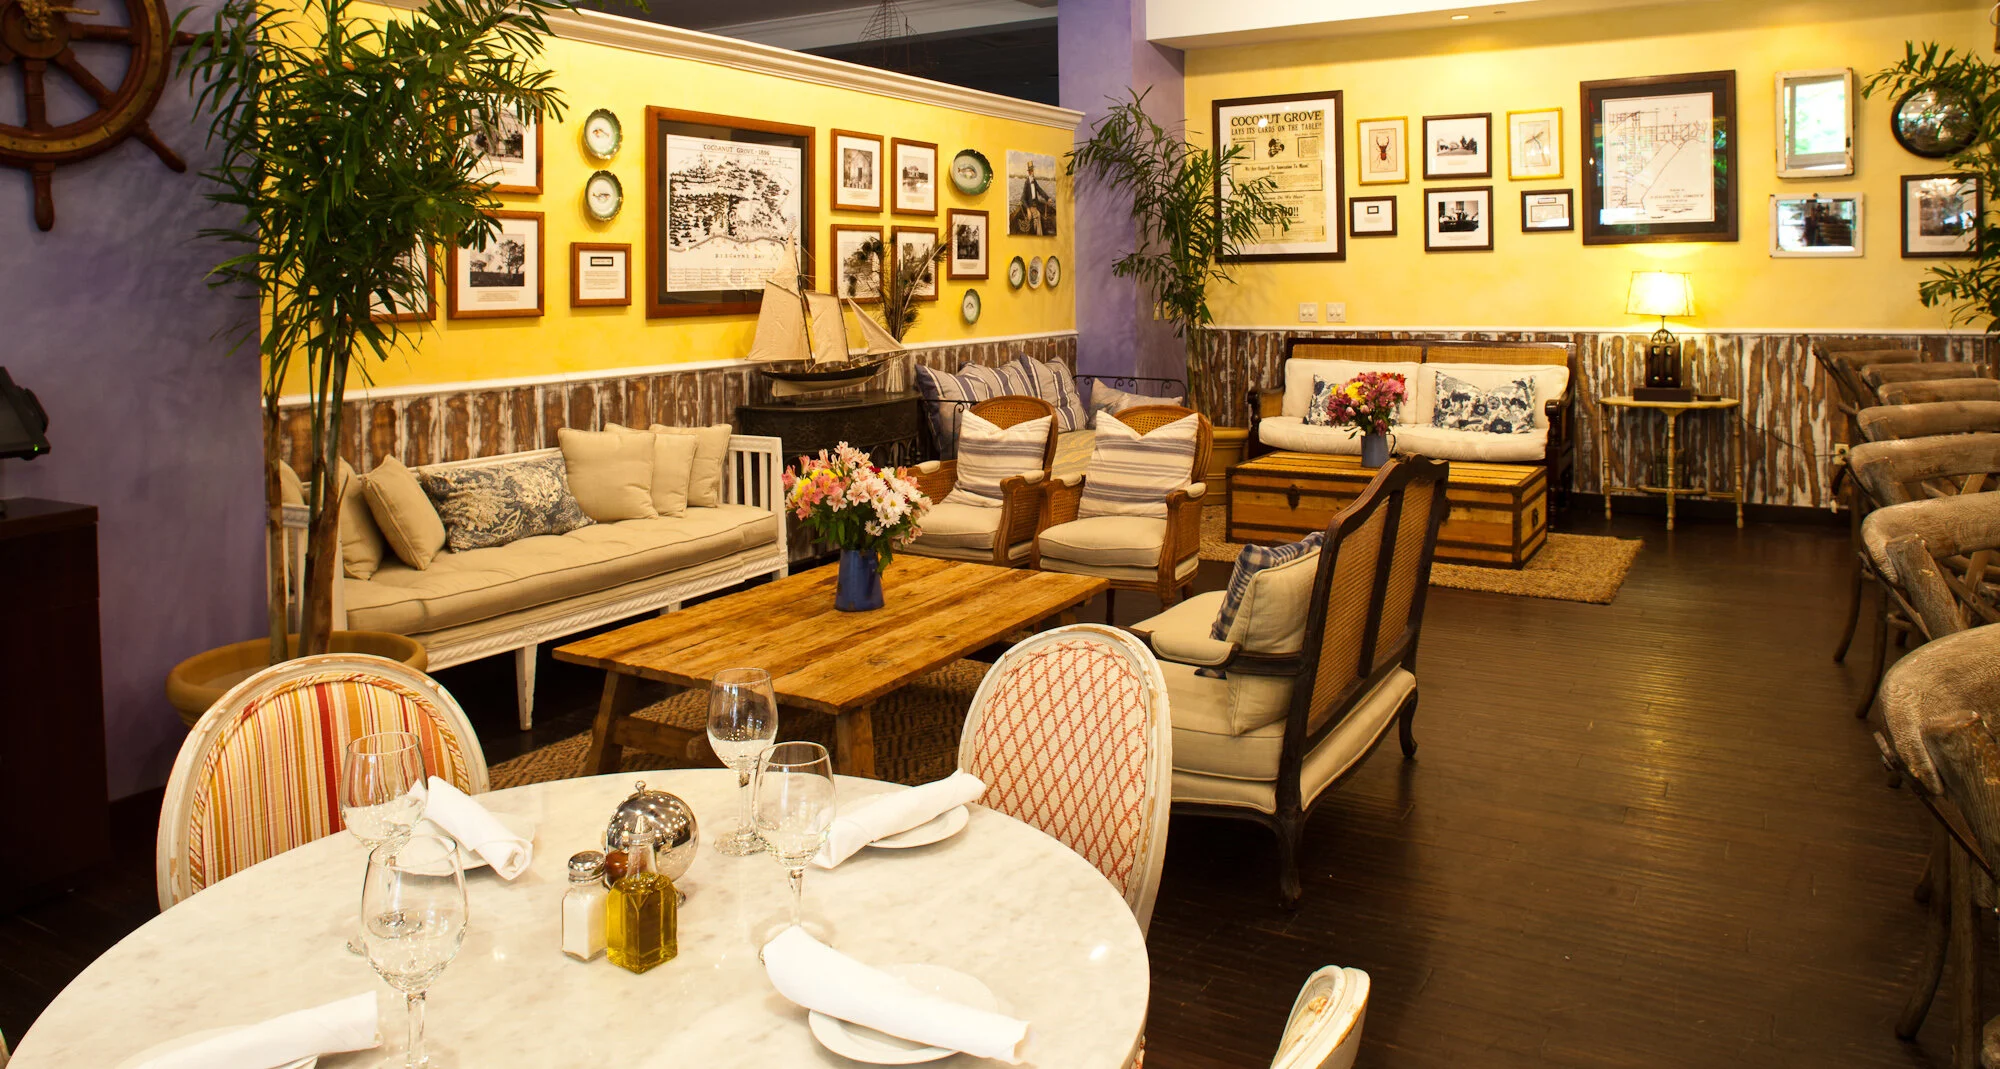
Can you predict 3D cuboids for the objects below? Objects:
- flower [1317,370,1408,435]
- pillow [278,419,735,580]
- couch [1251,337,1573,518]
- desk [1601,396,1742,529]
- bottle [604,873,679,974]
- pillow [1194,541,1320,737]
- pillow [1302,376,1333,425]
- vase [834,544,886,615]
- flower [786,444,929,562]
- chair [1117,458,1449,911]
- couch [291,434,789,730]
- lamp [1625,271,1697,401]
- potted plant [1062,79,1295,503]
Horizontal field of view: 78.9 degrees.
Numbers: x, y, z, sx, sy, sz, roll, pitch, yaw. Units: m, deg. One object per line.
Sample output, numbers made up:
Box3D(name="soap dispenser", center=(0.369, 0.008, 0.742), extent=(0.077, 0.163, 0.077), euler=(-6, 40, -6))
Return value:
Box3D(name="flower", center=(2.762, -0.981, 9.010), extent=(0.612, 0.417, 0.601), euler=(-10, 2, -3))
Box3D(name="pillow", center=(-2.789, -0.619, 7.010), extent=(0.800, 1.053, 2.578), euler=(12, 17, 40))
Box3D(name="couch", center=(3.499, -0.986, 10.370), extent=(2.462, 1.201, 0.966), euler=(6, 16, 32))
Box3D(name="desk", center=(5.757, -0.637, 10.373), extent=(1.110, 1.074, 0.907), euler=(10, 13, 18))
Box3D(name="bottle", center=(-0.914, 0.944, 3.106), extent=(0.186, 0.249, 0.191), euler=(0, 7, 0))
Box3D(name="pillow", center=(1.035, 0.447, 4.848), extent=(0.654, 0.656, 0.377), euler=(6, 31, 37))
Box3D(name="pillow", center=(2.771, -1.144, 10.567), extent=(0.110, 0.384, 0.407), euler=(14, -1, -21))
Box3D(name="vase", center=(-0.655, 0.218, 5.683), extent=(0.275, 0.290, 0.265), euler=(0, 0, -5))
Box3D(name="flower", center=(-0.678, -0.049, 5.738), extent=(0.583, 0.515, 0.546), euler=(-1, -24, 10))
Box3D(name="chair", center=(1.163, 0.448, 5.662), extent=(1.412, 1.615, 2.026), euler=(4, 15, 30))
Box3D(name="couch", center=(-2.520, 0.151, 6.905), extent=(0.949, 1.308, 2.897), euler=(6, 14, 33))
Box3D(name="lamp", center=(5.463, -1.652, 10.099), extent=(0.452, 1.019, 0.544), euler=(2, 13, 27))
Box3D(name="potted plant", center=(1.120, -2.780, 11.833), extent=(2.611, 3.640, 2.756), euler=(15, 28, 37))
